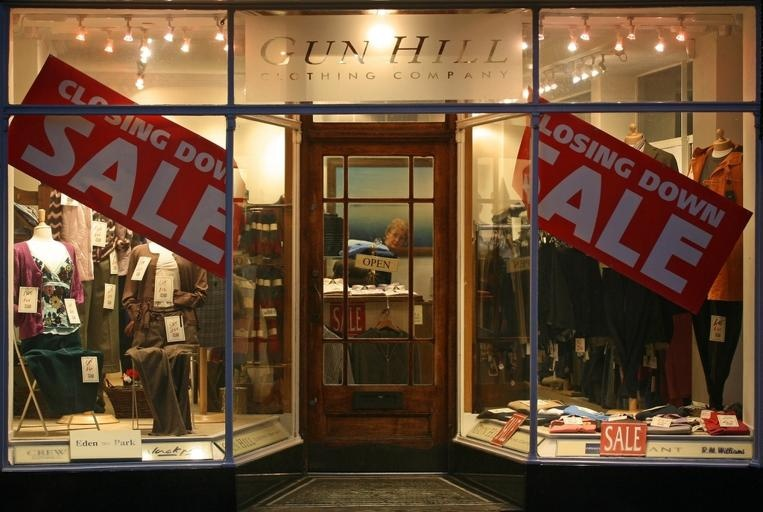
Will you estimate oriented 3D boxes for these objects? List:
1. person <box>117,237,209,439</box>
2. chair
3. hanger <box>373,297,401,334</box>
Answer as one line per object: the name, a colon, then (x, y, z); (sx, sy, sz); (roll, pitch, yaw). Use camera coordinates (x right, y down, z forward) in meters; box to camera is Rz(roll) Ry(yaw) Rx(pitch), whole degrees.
person: (-1.749, 0.651, 6.994); (0.669, 1.537, 0.198); (0, -7, -11)
chair: (-2.755, 0.919, 7.193); (0.731, 0.980, 0.629); (-4, -8, 25)
hanger: (0.031, 0.516, 7.543); (0.299, 0.333, 0.025); (2, 6, 10)
